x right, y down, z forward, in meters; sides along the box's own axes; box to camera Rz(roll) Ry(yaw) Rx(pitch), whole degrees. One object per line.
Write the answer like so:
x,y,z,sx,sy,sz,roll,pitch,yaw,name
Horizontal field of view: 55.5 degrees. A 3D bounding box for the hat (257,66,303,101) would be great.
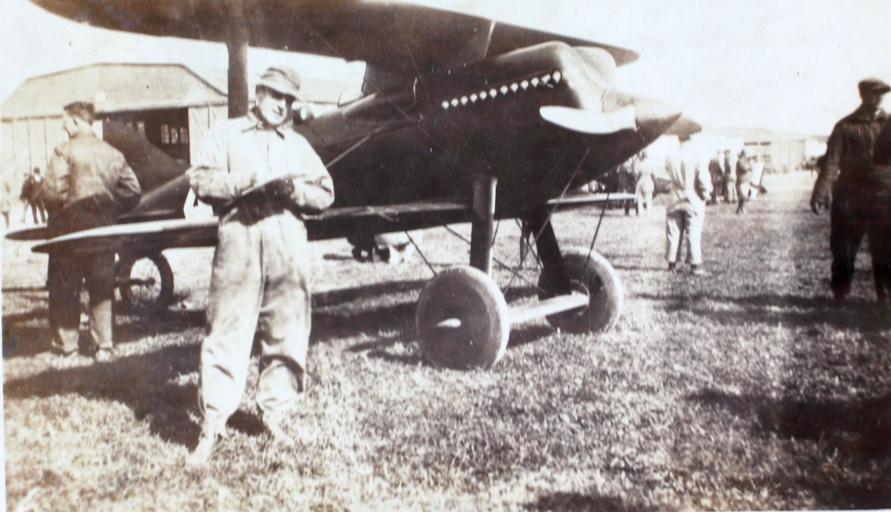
-1.232,-1.303,6.335,0.233,0.135,0.243,18,3,-23,hat
